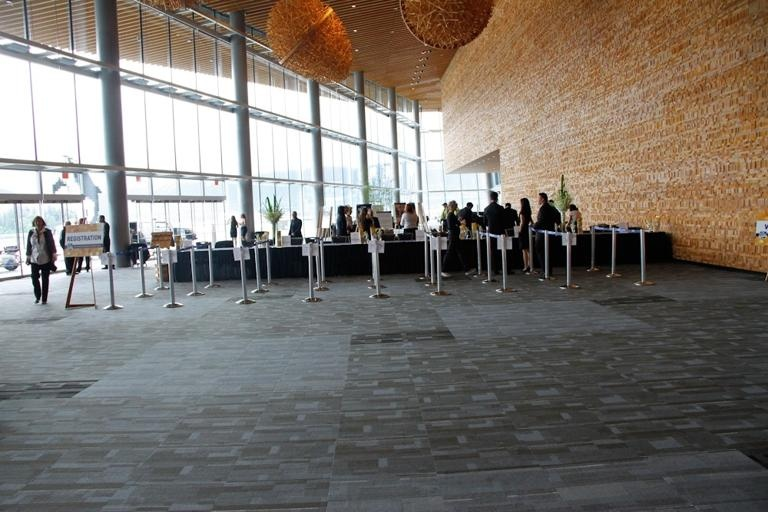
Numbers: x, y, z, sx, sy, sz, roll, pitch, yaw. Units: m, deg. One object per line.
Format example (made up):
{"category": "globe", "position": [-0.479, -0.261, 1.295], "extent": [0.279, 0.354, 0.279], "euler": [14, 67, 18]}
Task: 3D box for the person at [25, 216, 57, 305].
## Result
{"category": "person", "position": [-7.186, 0.050, 10.873], "extent": [0.532, 1.794, 1.079], "euler": [-10, 12, -32]}
